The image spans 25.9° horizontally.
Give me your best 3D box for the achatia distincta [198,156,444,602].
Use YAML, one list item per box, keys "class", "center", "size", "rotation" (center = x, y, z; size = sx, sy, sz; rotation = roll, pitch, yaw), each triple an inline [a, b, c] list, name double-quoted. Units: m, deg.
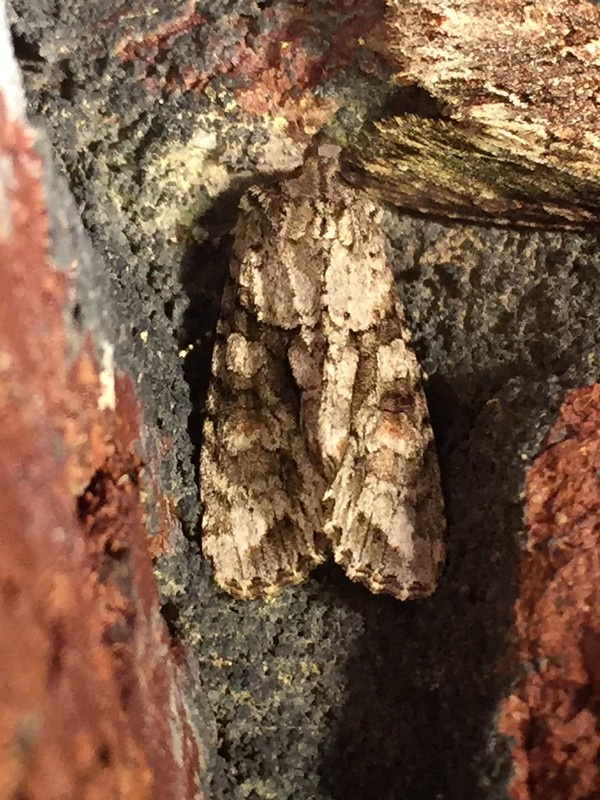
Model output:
- class: "achatia distincta"
  center: [0.019, -0.024, 1.900]
  size: [0.388, 0.605, 0.190]
  rotation: [-7, -4, -4]
